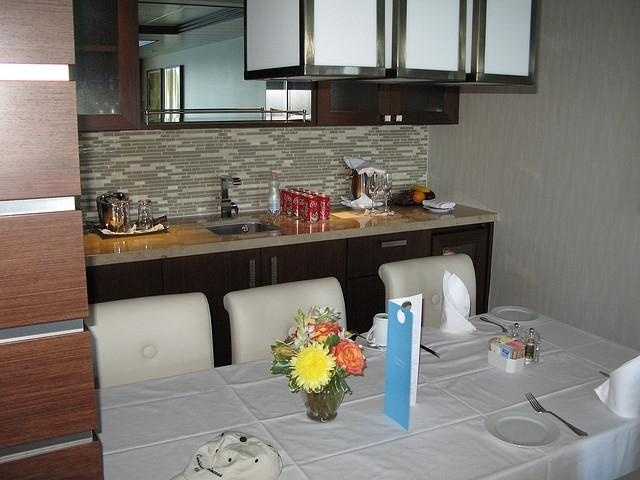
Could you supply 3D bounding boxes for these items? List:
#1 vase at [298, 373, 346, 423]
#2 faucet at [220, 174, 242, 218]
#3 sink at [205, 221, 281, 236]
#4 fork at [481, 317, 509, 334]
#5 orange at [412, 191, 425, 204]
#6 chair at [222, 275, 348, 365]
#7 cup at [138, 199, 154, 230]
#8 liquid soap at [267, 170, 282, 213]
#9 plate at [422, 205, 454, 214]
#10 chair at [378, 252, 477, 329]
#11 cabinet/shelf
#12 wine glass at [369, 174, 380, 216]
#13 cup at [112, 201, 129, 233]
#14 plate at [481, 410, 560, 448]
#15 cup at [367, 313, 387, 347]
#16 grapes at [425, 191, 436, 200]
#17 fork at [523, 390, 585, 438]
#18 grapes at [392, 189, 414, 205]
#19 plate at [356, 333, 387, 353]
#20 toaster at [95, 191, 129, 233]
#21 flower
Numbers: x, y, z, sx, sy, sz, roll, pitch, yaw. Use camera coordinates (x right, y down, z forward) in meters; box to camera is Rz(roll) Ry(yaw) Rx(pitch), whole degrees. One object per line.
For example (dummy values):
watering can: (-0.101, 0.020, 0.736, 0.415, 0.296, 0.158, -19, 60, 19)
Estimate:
vase: (0.014, 0.478, 1.379, 0.136, 0.150, 0.147, -3, 9, -15)
faucet: (-0.607, -0.298, 3.216, 0.163, 0.285, 0.254, -3, 14, -10)
sink: (-0.536, -0.082, 3.172, 0.234, 0.086, 0.195, -3, 9, -29)
fork: (0.770, 0.366, 2.051, 0.029, 0.025, 0.171, 34, -4, -21)
orange: (0.770, -0.339, 3.668, 0.091, 0.093, 0.093, 20, 6, 14)
chair: (-0.145, 0.265, 2.195, 0.418, 0.586, 0.383, -4, 6, -26)
cup: (-1.067, -0.156, 2.853, 0.090, 0.164, 0.162, -6, 15, -22)
liquid soap: (-0.326, -0.352, 3.406, 0.085, 0.308, 0.143, 1, 14, 5)
plate: (0.901, -0.256, 3.556, 0.229, 0.066, 0.159, 3, 14, 13)
chair: (0.568, 0.188, 2.582, 0.421, 0.595, 0.388, -5, 7, -20)
cabinet/shelf: (0.487, -0.996, 3.445, 1.184, 0.292, 0.211, -6, 15, -21)
wine glass: (0.413, -0.359, 3.488, 0.109, 0.291, 0.271, 1, 14, 7)
cup: (-1.166, -0.140, 2.742, 0.096, 0.177, 0.063, -7, 15, -25)
plate: (0.582, 0.544, 1.357, 0.202, 0.024, 0.211, -4, 9, 15)
cup: (0.231, 0.355, 1.860, 0.117, 0.110, 0.072, -10, 16, -43)
grapes: (0.883, -0.357, 3.741, 0.075, 0.028, 0.062, 4, 13, 23)
fork: (0.708, 0.532, 1.420, 0.033, 0.038, 0.251, -7, 16, -16)
grapes: (0.654, -0.336, 3.725, 0.166, 0.113, 0.124, 2, 14, 8)
plate: (0.196, 0.412, 1.880, 0.104, 0.012, 0.106, 7, 13, 27)
toaster: (-1.229, -0.155, 2.821, 0.162, 0.218, 0.197, -16, 31, -38)
flower: (0.010, 0.390, 1.402, 0.295, 0.303, 0.300, -7, 16, -32)
